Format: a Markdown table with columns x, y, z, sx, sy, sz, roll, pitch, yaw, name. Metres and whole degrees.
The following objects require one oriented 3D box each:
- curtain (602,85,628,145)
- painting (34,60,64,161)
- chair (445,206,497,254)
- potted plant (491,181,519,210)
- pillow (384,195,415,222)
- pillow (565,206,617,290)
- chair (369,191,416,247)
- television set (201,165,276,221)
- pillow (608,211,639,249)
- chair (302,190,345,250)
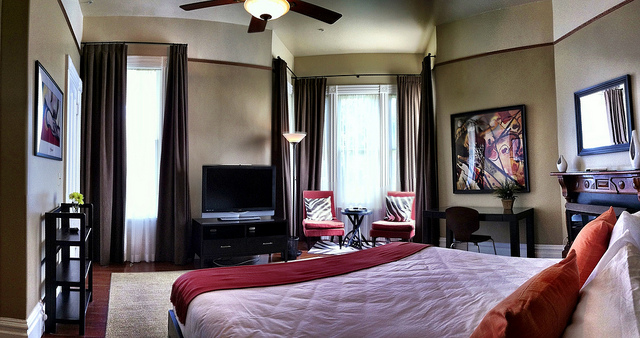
| x | y | z | sx | sy | sz | roll | pitch | yaw | name |
| --- | --- | --- | --- | --- | --- | --- | --- | --- | --- |
| 4.717 | -0.836 | 6.621 | 0.321 | 0.915 | 0.153 | -5 | 2 | 11 | curtain |
| -3.816 | -0.771 | 5.759 | 0.140 | 1.259 | 0.897 | -2 | -2 | -19 | painting |
| 2.672 | 1.161 | 7.303 | 0.671 | 1.011 | 0.737 | -3 | -1 | 40 | chair |
| 3.423 | 0.504 | 7.519 | 0.430 | 0.386 | 0.394 | -6 | 1 | -6 | potted plant |
| 1.642 | 0.812 | 8.356 | 0.548 | 0.444 | 0.186 | 2 | -24 | 5 | pillow |
| 3.276 | 0.888 | 4.865 | 0.371 | 0.743 | 1.012 | 0 | 5 | 41 | pillow |
| 1.550 | 1.019 | 8.370 | 0.819 | 1.029 | 0.939 | 1 | 3 | 22 | chair |
| -1.563 | 0.453 | 7.581 | 1.127 | 0.716 | 0.242 | 1 | -6 | -19 | television set |
| 3.275 | 0.670 | 4.424 | 0.335 | 0.261 | 0.118 | -39 | 24 | -30 | pillow |
| 0.026 | 1.011 | 8.422 | 0.828 | 1.011 | 0.887 | 0 | 5 | -13 | chair |
